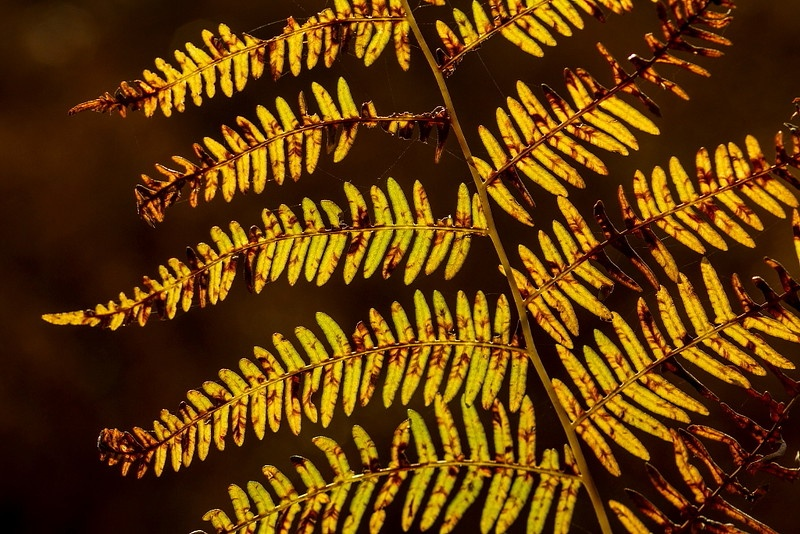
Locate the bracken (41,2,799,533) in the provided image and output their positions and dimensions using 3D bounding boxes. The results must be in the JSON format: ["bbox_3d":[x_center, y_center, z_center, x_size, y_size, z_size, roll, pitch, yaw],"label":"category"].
[{"bbox_3d":[0.325,0.119,7.838,4.276,3.569,1.475,-6,24,3],"label":"bracken"}]
